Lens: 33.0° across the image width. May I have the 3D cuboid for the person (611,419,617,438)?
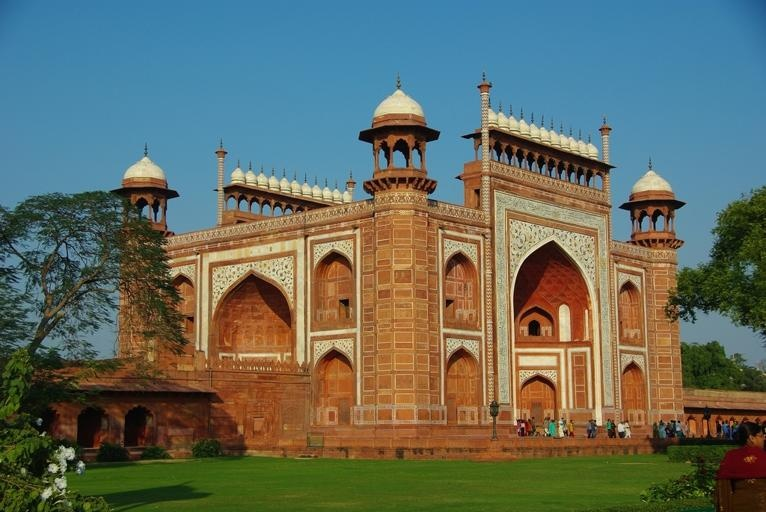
[{"bbox_3d":[8.130,6.133,45.562,0.213,0.625,0.801,-3,-15,9],"label":"person"}]
